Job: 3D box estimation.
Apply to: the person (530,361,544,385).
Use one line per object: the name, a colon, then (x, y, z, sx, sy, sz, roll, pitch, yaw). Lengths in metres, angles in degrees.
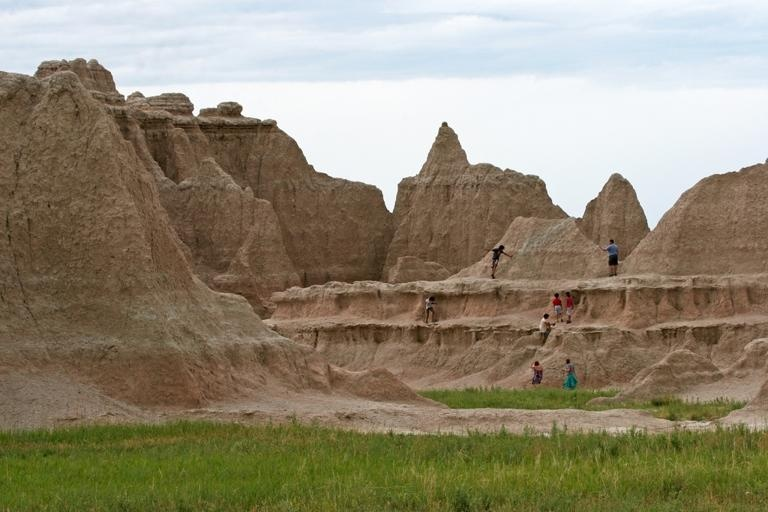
person: (4.753, 3.694, 69.691, 0.408, 0.729, 1.063, -2, -3, 4)

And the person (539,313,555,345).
person: (5.258, 2.425, 72.598, 0.490, 1.014, 1.496, -2, -3, 4)

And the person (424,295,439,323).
person: (1.636, 1.913, 78.038, 0.424, 0.911, 0.873, -2, -2, 1)
